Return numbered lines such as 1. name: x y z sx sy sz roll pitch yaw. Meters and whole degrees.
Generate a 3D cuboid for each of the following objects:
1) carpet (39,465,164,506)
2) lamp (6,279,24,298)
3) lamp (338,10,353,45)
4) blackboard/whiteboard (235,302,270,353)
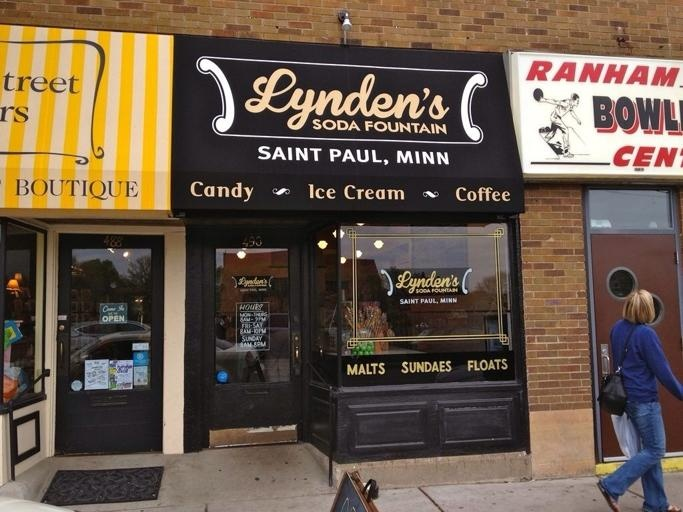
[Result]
1. carpet: -2.728 2.679 7.904 1.285 0.272 0.696 -2 -4 -8
2. lamp: -3.846 0.375 8.072 0.164 0.151 0.159 0 6 -18
3. lamp: 0.057 -2.923 8.646 0.169 0.486 0.107 -3 -5 0
4. blackboard/whiteboard: -1.176 0.954 9.152 0.405 0.669 0.351 3 -3 -17
